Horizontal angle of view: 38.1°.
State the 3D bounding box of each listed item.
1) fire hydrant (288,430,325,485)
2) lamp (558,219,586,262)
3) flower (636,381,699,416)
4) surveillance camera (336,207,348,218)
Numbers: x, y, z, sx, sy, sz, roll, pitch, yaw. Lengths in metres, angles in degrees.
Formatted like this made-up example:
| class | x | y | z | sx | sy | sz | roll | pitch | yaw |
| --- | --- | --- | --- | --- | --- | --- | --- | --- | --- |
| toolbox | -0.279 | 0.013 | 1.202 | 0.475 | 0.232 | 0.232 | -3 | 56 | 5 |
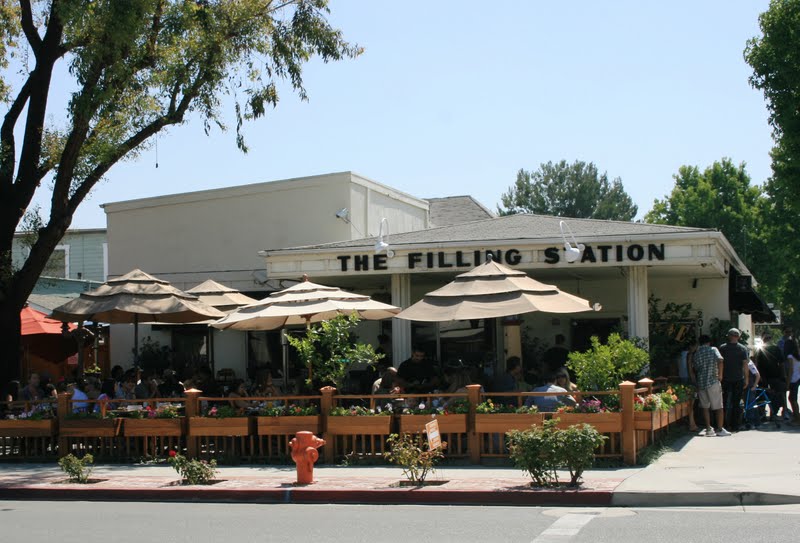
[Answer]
| class | x | y | z | sx | sy | sz | roll | pitch | yaw |
| --- | --- | --- | --- | --- | --- | --- | --- | --- | --- |
| fire hydrant | -2.043 | 4.110 | 25.589 | 0.703 | 1.166 | 0.512 | 0 | -9 | -6 |
| lamp | 4.520 | -0.818 | 31.227 | 0.535 | 1.065 | 0.839 | -25 | -13 | 13 |
| flower | 6.447 | 3.139 | 28.492 | 0.756 | 0.760 | 3.050 | 0 | -6 | 23 |
| surveillance camera | -1.861 | -1.937 | 37.217 | 0.429 | 0.347 | 0.635 | -1 | -9 | -2 |
